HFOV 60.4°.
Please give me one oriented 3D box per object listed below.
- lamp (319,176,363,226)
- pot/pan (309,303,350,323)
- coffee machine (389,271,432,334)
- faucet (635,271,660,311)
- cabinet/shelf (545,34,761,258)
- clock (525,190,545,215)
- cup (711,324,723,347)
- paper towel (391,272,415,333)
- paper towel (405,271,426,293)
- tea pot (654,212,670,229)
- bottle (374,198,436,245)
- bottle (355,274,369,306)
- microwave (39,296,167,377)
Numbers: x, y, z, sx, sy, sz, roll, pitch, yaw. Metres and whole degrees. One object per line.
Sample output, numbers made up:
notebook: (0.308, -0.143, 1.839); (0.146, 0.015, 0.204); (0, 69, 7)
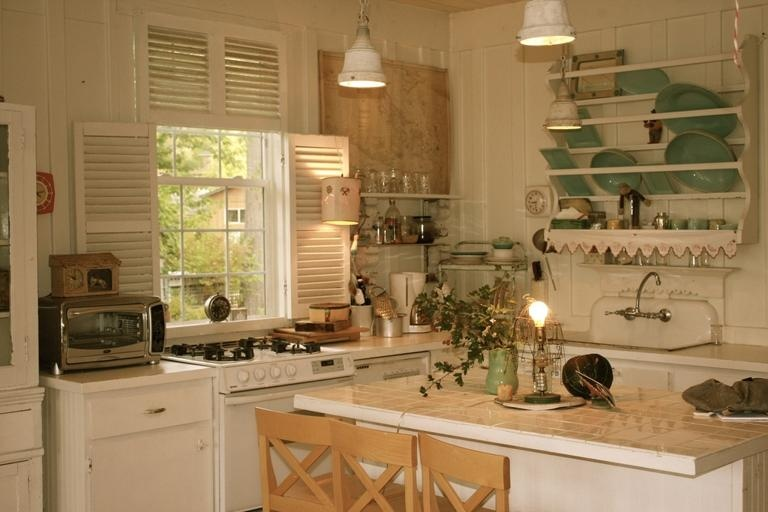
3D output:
lamp: (-0.340, -0.438, 5.411); (0.363, 0.385, 0.351); (1, 0, -17)
pot/pan: (-0.423, 0.440, 5.135); (0.319, 0.144, 0.229); (-3, 2, -8)
coffee machine: (0.203, 0.382, 5.473); (0.473, 0.617, 0.380); (-2, 0, -8)
faucet: (2.083, 0.274, 5.192); (0.195, 0.314, 0.146); (-2, 3, 27)
cabinet/shelf: (2.106, -0.820, 5.021); (1.828, 1.715, 0.596); (-2, -5, 36)
clock: (1.327, -0.473, 5.781); (0.233, 0.262, 0.038); (-1, -2, 43)
cup: (2.484, 0.583, 4.916); (0.079, 0.140, 0.091); (-2, 2, 26)
paper towel: (0.159, 0.360, 5.602); (0.220, 0.435, 0.240); (-3, 16, -13)
paper towel: (0.262, 0.216, 5.583); (0.174, 0.167, 0.141); (-1, 2, -12)
tea pot: (2.104, -0.274, 5.037); (0.117, 0.109, 0.119); (-1, -2, 0)
bottle: (0.176, -0.276, 5.783); (0.450, 0.304, 0.439); (-1, 1, 0)
bottle: (-0.183, 0.275, 5.368); (0.122, 0.238, 0.119); (-3, 2, 0)
microwave: (-1.731, 0.482, 4.070); (0.730, 0.453, 0.461); (2, -5, -43)
